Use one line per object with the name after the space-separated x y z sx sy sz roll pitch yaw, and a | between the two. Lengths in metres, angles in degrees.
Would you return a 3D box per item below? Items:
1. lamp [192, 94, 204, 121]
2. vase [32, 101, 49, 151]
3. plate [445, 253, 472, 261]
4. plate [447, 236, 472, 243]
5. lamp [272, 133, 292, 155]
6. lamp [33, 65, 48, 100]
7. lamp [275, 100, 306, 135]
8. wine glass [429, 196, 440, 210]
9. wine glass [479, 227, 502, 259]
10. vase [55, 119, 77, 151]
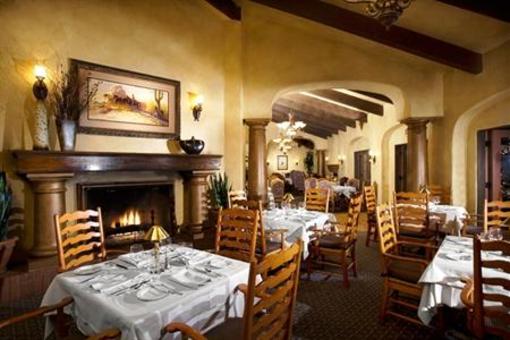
-1.234 -1.334 7.065 0.167 0.662 0.504 -4 8 -32 | lamp
-3.476 -0.664 5.363 0.209 0.683 0.100 0 -1 -30 | vase
2.520 1.062 4.110 0.300 0.060 0.198 0 -3 2 | plate
2.839 0.959 4.630 0.316 0.066 0.383 -2 -3 32 | plate
1.274 -1.182 14.802 0.927 1.128 1.093 0 6 13 | lamp
-3.588 -1.457 5.534 0.190 0.618 0.148 1 -1 -34 | lamp
1.486 -1.746 11.928 1.223 1.410 1.218 -2 4 -27 | lamp
3.690 0.671 6.821 0.193 0.330 0.215 0 -7 2 | wine glass
2.978 0.908 4.182 0.207 0.336 0.461 -1 -2 37 | wine glass
-3.142 -0.578 5.504 0.292 0.534 0.227 1 -1 -32 | vase
